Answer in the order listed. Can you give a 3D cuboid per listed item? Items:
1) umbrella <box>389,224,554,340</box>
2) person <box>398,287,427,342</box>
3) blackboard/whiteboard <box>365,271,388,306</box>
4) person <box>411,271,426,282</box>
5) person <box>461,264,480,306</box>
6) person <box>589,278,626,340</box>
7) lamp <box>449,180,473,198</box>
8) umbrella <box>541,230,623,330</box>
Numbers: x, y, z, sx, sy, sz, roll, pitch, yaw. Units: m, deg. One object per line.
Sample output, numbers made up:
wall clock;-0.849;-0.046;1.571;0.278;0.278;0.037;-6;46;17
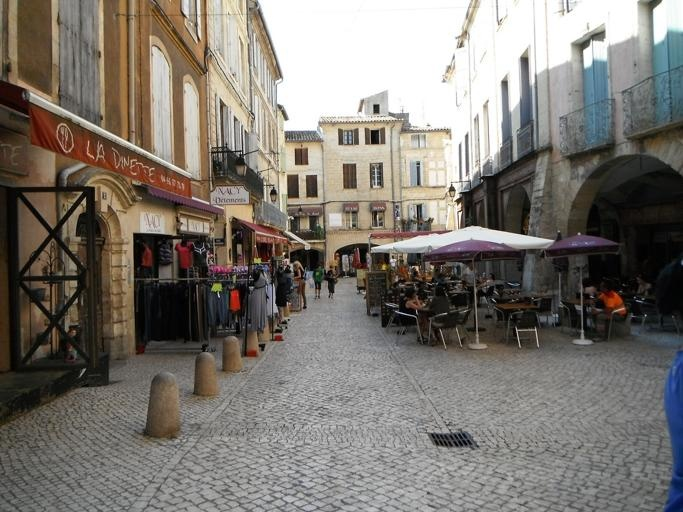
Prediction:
umbrella;3.111;0.664;15.645;2.279;2.257;2.427;-5;4;-32
person;1.787;1.462;16.141;0.665;1.400;0.519;-2;11;5
blackboard/whiteboard;1.137;1.083;20.817;0.668;1.316;0.129;-4;-34;4
person;3.000;0.870;26.053;0.394;0.467;0.783;9;4;12
person;4.210;1.002;21.201;0.416;1.620;0.435;4;-5;-9
person;6.251;1.202;15.379;0.672;1.349;0.667;-5;15;-6
lamp;5.952;-3.394;32.388;0.720;1.064;2.549;-1;2;15
umbrella;5.751;0.723;15.597;1.871;2.521;2.082;-2;-7;18
